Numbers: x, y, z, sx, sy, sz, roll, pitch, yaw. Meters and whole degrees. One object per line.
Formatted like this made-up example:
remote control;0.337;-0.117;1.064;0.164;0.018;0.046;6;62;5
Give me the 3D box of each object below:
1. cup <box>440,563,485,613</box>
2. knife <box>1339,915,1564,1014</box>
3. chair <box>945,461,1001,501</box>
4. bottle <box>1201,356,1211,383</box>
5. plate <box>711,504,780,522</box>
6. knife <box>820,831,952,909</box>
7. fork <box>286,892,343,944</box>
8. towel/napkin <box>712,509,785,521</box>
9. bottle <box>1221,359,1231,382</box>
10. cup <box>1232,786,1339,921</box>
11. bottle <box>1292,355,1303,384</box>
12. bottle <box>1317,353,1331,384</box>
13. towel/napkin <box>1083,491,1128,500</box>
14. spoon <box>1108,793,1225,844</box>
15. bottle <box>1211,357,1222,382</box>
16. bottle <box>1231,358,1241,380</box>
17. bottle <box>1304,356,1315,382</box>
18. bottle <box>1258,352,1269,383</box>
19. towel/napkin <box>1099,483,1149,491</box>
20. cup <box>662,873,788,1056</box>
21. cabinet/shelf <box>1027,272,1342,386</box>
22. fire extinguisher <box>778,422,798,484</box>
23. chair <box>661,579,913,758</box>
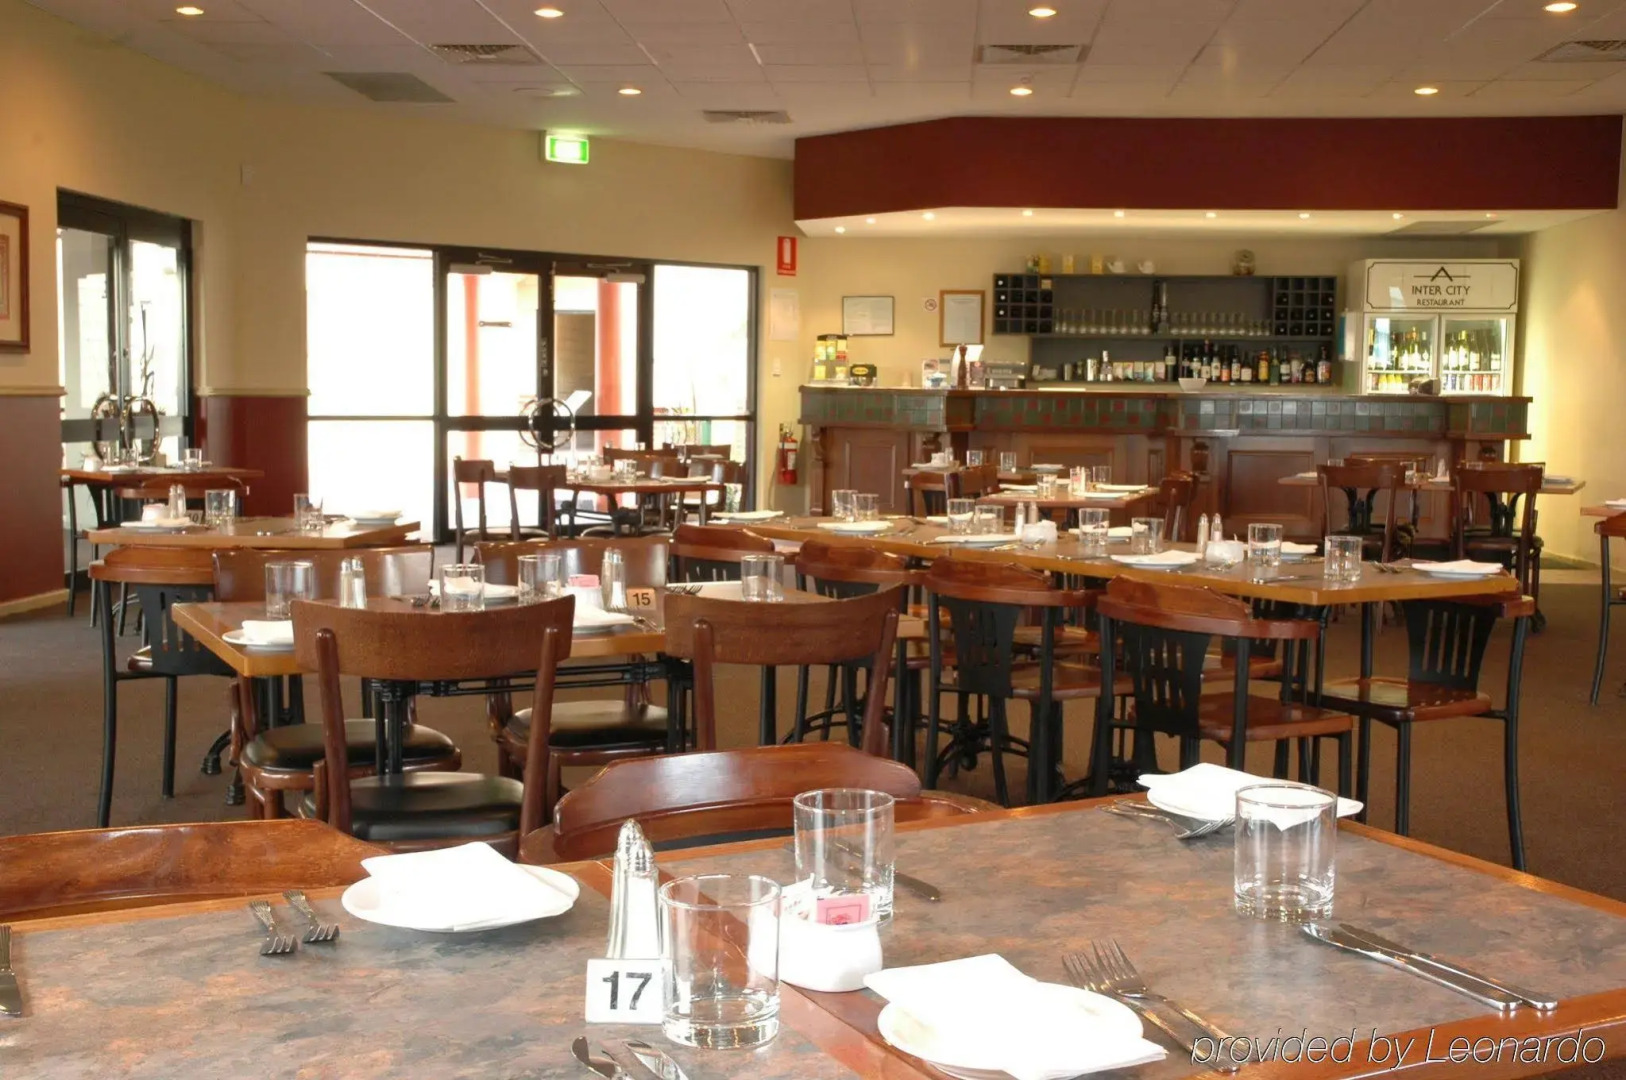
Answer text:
cup;-0.953;0.131;3.278;0.182;0.127;0.145;-1;4;-13
knife;0.685;0.461;1.317;0.056;0.006;0.176;-9;10;-31
chair;0.973;-0.370;7.580;0.365;0.271;0.273;-3;7;-19
bottle;4.123;-1.804;12.753;0.099;0.218;0.169;6;12;20
plate;-0.551;-0.212;9.017;0.482;0.083;0.476;-2;4;-40
knife;0.058;0.425;1.559;0.308;0.019;0.039;0;41;51
fork;-0.577;0.434;1.391;0.037;0.020;0.072;-5;16;-31
towel/napkin;-0.464;-0.171;7.958;0.375;0.064;0.370;-3;4;-37
bottle;4.353;-1.774;12.783;0.098;0.185;0.078;3;12;7
cup;0.564;0.377;1.480;0.194;0.139;0.151;0;1;6
bottle;5.078;-1.789;12.774;0.130;0.251;0.075;4;12;9
bottle;5.364;-1.801;12.788;0.141;0.270;0.257;6;11;19
towel/napkin;1.659;-0.246;6.882;0.239;0.041;0.437;3;8;14
spoon;0.505;0.411;1.773;0.052;0.014;0.123;-10;11;-42
bottle;4.254;-1.806;12.775;0.143;0.252;0.127;5;12;14
bottle;4.439;-1.789;12.771;0.087;0.217;0.073;3;12;6
bottle;5.202;-1.764;12.769;0.110;0.201;0.093;4;12;13
bottle;4.745;-1.817;12.791;0.150;0.302;0.106;5;12;13
towel/napkin;1.837;-0.315;7.281;0.273;0.017;0.562;2;8;6
cup;-0.094;0.417;1.212;0.118;0.149;0.110;2;11;0
cabinet/shelf;3.823;-2.234;12.857;3.442;1.140;0.569;2;11;9
fire extinguisher;-0.295;-0.930;13.172;0.223;0.662;0.365;1;11;-4
chair;-0.129;0.285;3.198;0.758;0.613;0.525;-1;12;-9
